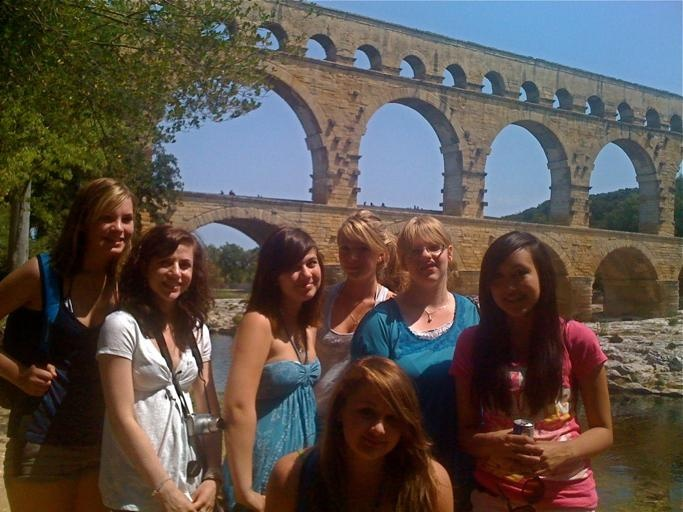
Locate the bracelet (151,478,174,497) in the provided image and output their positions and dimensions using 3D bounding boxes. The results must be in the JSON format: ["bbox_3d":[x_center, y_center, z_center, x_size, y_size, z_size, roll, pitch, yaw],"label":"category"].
[{"bbox_3d":[-0.931,1.202,2.791,0.090,0.036,0.075,-44,8,-29],"label":"bracelet"}]

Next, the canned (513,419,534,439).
[{"bbox_3d":[0.987,0.914,2.907,0.096,0.109,0.097,-1,8,-35],"label":"canned"}]

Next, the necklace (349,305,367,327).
[{"bbox_3d":[0.124,0.426,3.864,0.125,0.031,0.125,-48,2,22],"label":"necklace"}]

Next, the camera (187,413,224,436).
[{"bbox_3d":[-0.791,0.972,3.062,0.168,0.113,0.078,2,-16,-26],"label":"camera"}]

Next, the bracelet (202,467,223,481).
[{"bbox_3d":[-0.734,1.246,3.065,0.074,0.064,0.064,-4,-12,4],"label":"bracelet"}]

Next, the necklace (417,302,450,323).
[{"bbox_3d":[0.602,0.377,3.517,0.184,0.120,0.042,-24,3,-22],"label":"necklace"}]
